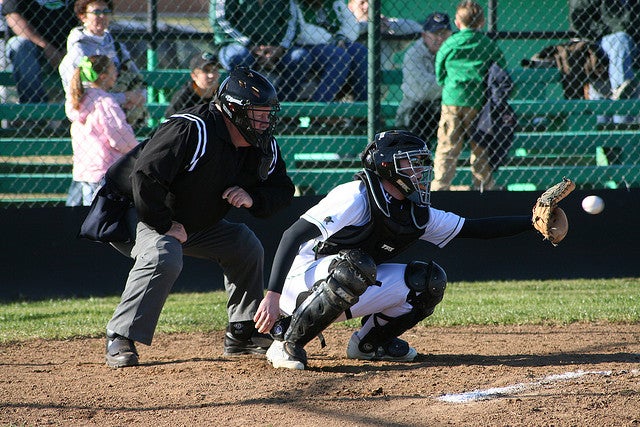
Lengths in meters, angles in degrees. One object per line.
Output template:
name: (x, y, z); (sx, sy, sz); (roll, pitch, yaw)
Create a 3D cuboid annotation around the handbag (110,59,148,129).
handbag: (-2.062, -1.252, 11.063); (0.211, 0.626, 0.471); (-2, 29, -11)

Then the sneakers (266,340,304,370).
sneakers: (-0.293, 1.232, 8.663); (0.329, 0.241, 0.168); (22, 1, 23)

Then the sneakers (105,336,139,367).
sneakers: (-1.690, 1.204, 8.655); (0.161, 0.167, 0.339); (3, -5, -33)

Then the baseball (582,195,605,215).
baseball: (2.390, -0.045, 8.892); (0.180, 0.189, 0.182); (-1, 26, 25)

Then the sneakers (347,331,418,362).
sneakers: (0.528, 1.148, 8.830); (0.551, 0.278, 0.250); (-2, 8, -1)

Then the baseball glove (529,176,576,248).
baseball glove: (2.009, 0.007, 8.692); (0.227, 0.556, 0.376); (8, 15, -38)
